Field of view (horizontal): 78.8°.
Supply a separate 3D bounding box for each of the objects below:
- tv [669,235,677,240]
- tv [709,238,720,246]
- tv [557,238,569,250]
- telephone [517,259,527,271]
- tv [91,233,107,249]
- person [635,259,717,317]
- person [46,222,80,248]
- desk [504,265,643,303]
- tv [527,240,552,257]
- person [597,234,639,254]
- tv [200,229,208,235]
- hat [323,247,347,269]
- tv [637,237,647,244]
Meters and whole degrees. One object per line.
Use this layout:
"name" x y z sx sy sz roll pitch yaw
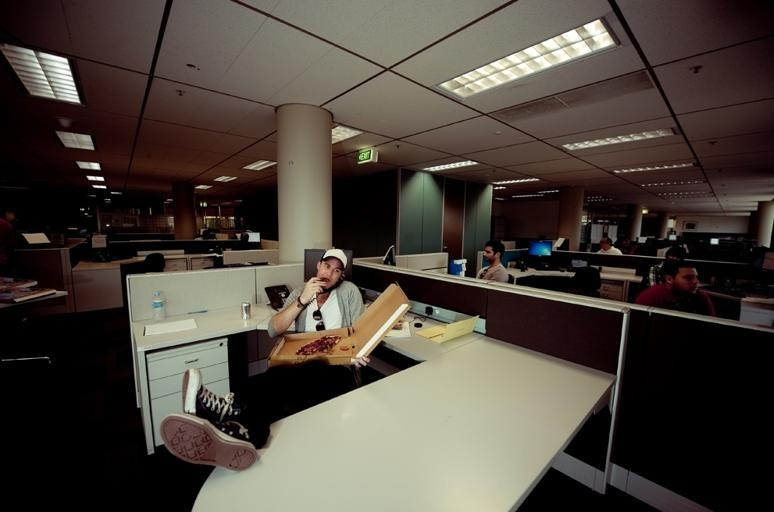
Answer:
"tv" 9.053 -0.581 14.920 0.271 0.181 0.152 15 24 39
"tv" 8.196 -0.348 11.804 0.198 0.139 0.108 5 14 17
"tv" 3.654 -0.244 9.801 0.146 0.268 0.189 19 14 -11
"telephone" 2.442 0.174 8.525 0.080 0.203 0.301 1 -1 7
"tv" -5.210 -0.270 8.456 0.240 0.169 0.239 9 3 -1
"person" 3.158 0.370 5.145 0.946 0.638 0.506 0 0 -14
"person" -7.103 -0.447 10.311 0.410 0.518 0.750 -7 11 -43
"desk" 3.197 0.466 8.119 1.965 0.505 1.464 -1 4 -24
"tv" 2.908 -0.131 8.953 0.310 0.226 0.046 4 -18 9
"person" 5.499 -0.279 11.137 0.736 0.190 0.786 -2 13 7
"tv" -5.054 -0.672 13.025 0.151 0.140 3.817 0 4 -22
"hat" -0.607 0.045 4.902 0.265 0.191 0.426 11 -8 -6
"tv" 7.544 -0.462 13.950 0.293 0.077 0.271 2 24 17
